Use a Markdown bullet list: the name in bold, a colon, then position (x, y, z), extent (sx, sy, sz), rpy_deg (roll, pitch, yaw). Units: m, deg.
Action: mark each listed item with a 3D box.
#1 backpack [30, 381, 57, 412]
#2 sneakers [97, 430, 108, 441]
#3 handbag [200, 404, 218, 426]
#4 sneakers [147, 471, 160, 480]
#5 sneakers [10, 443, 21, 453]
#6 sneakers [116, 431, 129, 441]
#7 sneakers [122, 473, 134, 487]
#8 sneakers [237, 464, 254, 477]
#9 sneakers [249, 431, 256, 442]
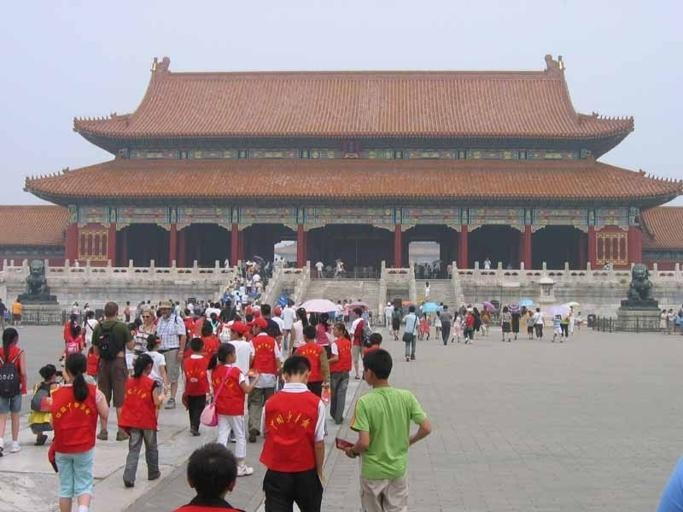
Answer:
- **backpack**: position (-6.821, 3.213, 26.313), extent (0.631, 0.671, 0.274), rpy_deg (-2, -5, 28)
- **sneakers**: position (-5.576, 4.165, 26.788), extent (0.132, 0.226, 0.332), rpy_deg (3, 6, -39)
- **handbag**: position (-2.900, 3.426, 25.072), extent (0.337, 0.459, 0.374), rpy_deg (1, -4, -8)
- **sneakers**: position (-4.062, 4.721, 24.897), extent (0.287, 0.192, 0.152), rpy_deg (2, -4, -19)
- **sneakers**: position (-7.417, 4.306, 26.107), extent (0.237, 0.215, 0.387), rpy_deg (2, -4, -17)
- **sneakers**: position (-5.182, 4.160, 26.865), extent (0.227, 0.232, 0.420), rpy_deg (4, -5, -41)
- **sneakers**: position (-4.538, 4.749, 24.485), extent (0.168, 0.274, 0.274), rpy_deg (-1, -37, -6)
- **sneakers**: position (-2.101, 4.646, 25.131), extent (0.387, 0.266, 0.246), rpy_deg (2, -4, -18)
- **sneakers**: position (-2.070, 4.204, 26.858), extent (0.141, 0.234, 0.286), rpy_deg (-2, -5, 34)
